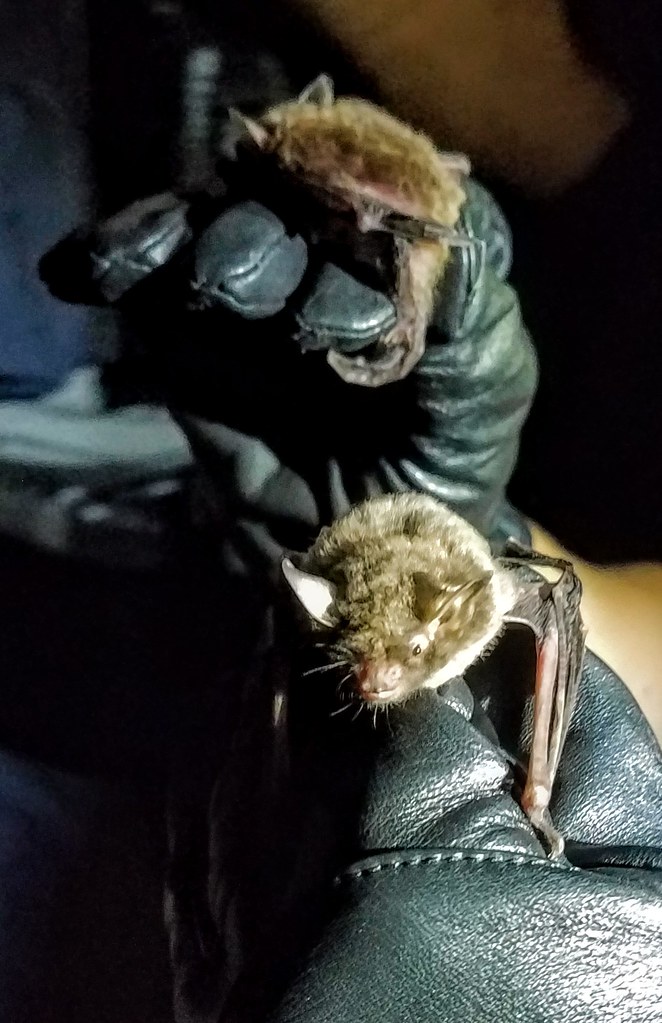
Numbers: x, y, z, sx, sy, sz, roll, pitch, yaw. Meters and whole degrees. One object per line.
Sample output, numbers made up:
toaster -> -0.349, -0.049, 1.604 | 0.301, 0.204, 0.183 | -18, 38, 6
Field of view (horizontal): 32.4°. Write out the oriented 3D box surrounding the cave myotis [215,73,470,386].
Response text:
cave myotis -> 0.019, -0.221, 0.879 | 0.143, 0.183, 0.172 | -32, 63, -26
